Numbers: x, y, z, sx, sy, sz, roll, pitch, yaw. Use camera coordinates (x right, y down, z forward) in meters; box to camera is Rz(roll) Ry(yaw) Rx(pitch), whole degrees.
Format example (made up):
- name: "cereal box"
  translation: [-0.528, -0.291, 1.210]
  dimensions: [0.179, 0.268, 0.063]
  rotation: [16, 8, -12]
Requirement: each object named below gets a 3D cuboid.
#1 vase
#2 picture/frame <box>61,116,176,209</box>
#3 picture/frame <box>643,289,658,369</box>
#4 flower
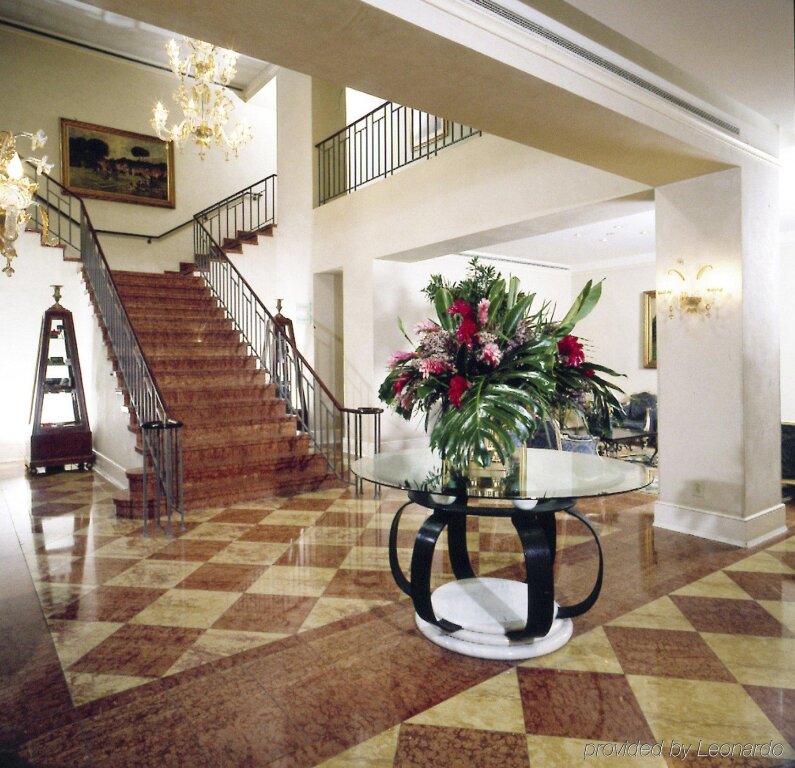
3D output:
- name: "vase"
  translation: [0.385, 0.321, 2.796]
  dimensions: [0.393, 0.246, 0.386]
  rotation: [0, 5, 4]
- name: "picture/frame"
  translation: [-4.462, -3.454, 9.950]
  dimensions: [2.106, 1.547, 0.155]
  rotation: [-3, 7, -41]
- name: "picture/frame"
  translation: [3.916, -0.846, 9.933]
  dimensions: [0.113, 1.227, 0.311]
  rotation: [-2, 5, -16]
- name: "flower"
  translation: [0.469, -0.046, 2.925]
  dimensions: [1.042, 0.918, 0.694]
  rotation: [0, 5, -1]
